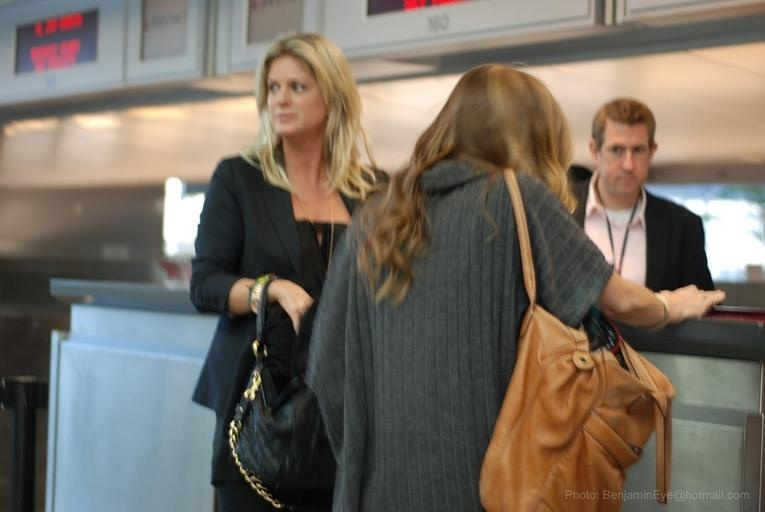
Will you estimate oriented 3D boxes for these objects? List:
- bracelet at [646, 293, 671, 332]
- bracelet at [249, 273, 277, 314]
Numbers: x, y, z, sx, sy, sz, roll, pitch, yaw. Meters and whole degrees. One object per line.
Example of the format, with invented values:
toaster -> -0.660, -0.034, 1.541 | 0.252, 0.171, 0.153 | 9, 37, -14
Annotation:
bracelet -> 0.616, 0.121, 1.573 | 0.046, 0.076, 0.074 | 1, 8, -7
bracelet -> -0.303, 0.090, 1.756 | 0.034, 0.084, 0.065 | 26, 5, 6
